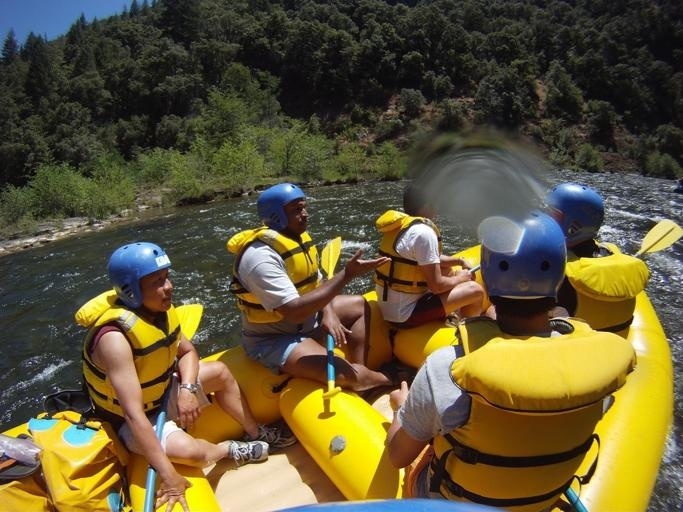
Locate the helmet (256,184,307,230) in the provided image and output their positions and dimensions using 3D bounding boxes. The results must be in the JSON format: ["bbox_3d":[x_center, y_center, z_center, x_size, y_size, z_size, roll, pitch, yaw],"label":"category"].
[{"bbox_3d":[-0.456,-0.393,4.057,0.386,0.356,0.365,-17,14,-15],"label":"helmet"}]

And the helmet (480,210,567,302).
[{"bbox_3d":[0.925,-0.009,2.694,0.420,0.504,0.601,2,3,15],"label":"helmet"}]

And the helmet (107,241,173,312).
[{"bbox_3d":[-1.312,0.114,3.392,0.385,0.400,0.345,-14,16,-34],"label":"helmet"}]

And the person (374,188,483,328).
[{"bbox_3d":[0.762,0.095,4.326,0.863,1.435,0.725,-1,11,-6],"label":"person"}]

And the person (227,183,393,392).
[{"bbox_3d":[-0.238,0.289,4.139,1.181,1.740,1.184,-5,8,-2],"label":"person"}]

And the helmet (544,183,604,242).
[{"bbox_3d":[1.707,-0.246,3.883,0.437,0.445,0.356,8,-8,2],"label":"helmet"}]

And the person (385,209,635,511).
[{"bbox_3d":[0.791,0.570,2.508,1.103,1.493,0.452,-1,15,5],"label":"person"}]

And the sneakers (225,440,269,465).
[{"bbox_3d":[-0.637,1.323,3.562,0.324,0.125,0.146,1,-3,-12],"label":"sneakers"}]
